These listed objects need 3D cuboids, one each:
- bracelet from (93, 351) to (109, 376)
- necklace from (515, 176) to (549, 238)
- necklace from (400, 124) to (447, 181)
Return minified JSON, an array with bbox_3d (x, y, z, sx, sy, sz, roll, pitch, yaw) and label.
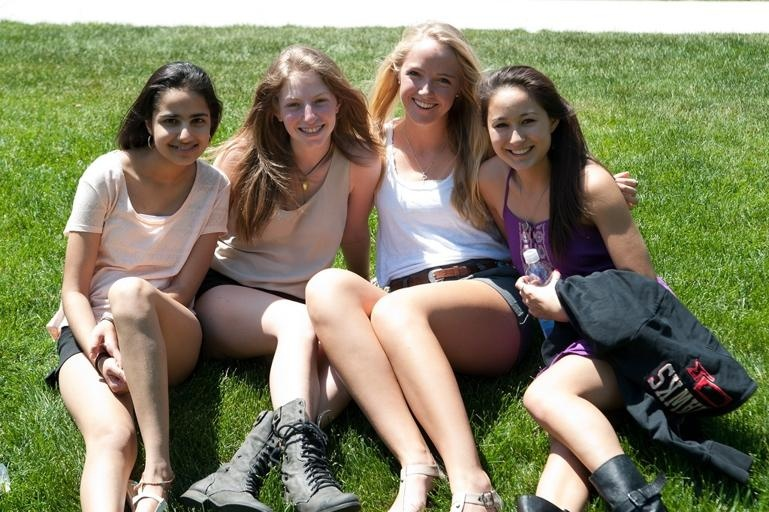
[{"bbox_3d":[-1.761,0.661,4.320,0.101,0.086,0.137,7,37,-12],"label":"bracelet"},{"bbox_3d":[1.005,-0.327,4.674,0.214,0.399,0.106,-1,8,12],"label":"necklace"},{"bbox_3d":[0.274,-0.769,5.219,0.404,0.419,0.164,2,-21,-16],"label":"necklace"}]
